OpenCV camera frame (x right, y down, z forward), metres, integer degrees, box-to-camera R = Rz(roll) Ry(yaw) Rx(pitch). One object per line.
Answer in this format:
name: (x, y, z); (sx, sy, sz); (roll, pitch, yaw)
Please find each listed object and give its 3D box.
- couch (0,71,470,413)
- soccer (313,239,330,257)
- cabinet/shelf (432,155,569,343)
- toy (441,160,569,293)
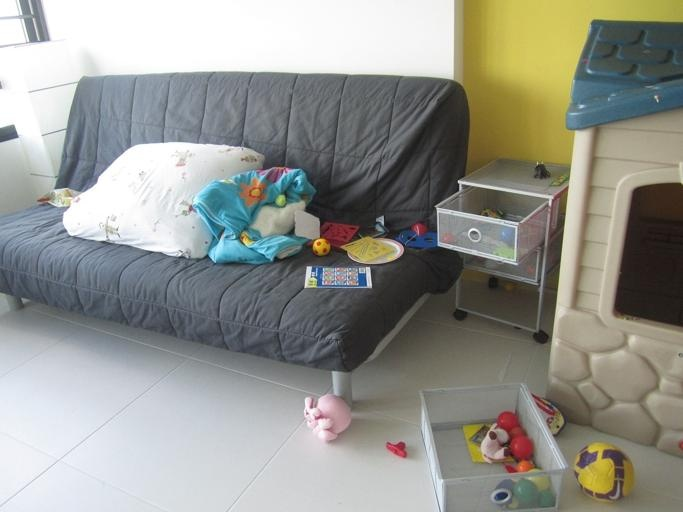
couch: (-0.572, -0.237, 2.505); (2.262, 1.141, 1.107); (10, 31, 22)
soccer: (-0.095, -0.040, 2.322); (0.072, 0.077, 0.074); (15, 32, 1)
cabinet/shelf: (0.807, 0.000, 2.426); (0.460, 0.731, 0.777); (14, 29, 36)
toy: (0.755, -0.245, 2.319); (0.450, 0.484, 0.690); (14, 39, 29)
